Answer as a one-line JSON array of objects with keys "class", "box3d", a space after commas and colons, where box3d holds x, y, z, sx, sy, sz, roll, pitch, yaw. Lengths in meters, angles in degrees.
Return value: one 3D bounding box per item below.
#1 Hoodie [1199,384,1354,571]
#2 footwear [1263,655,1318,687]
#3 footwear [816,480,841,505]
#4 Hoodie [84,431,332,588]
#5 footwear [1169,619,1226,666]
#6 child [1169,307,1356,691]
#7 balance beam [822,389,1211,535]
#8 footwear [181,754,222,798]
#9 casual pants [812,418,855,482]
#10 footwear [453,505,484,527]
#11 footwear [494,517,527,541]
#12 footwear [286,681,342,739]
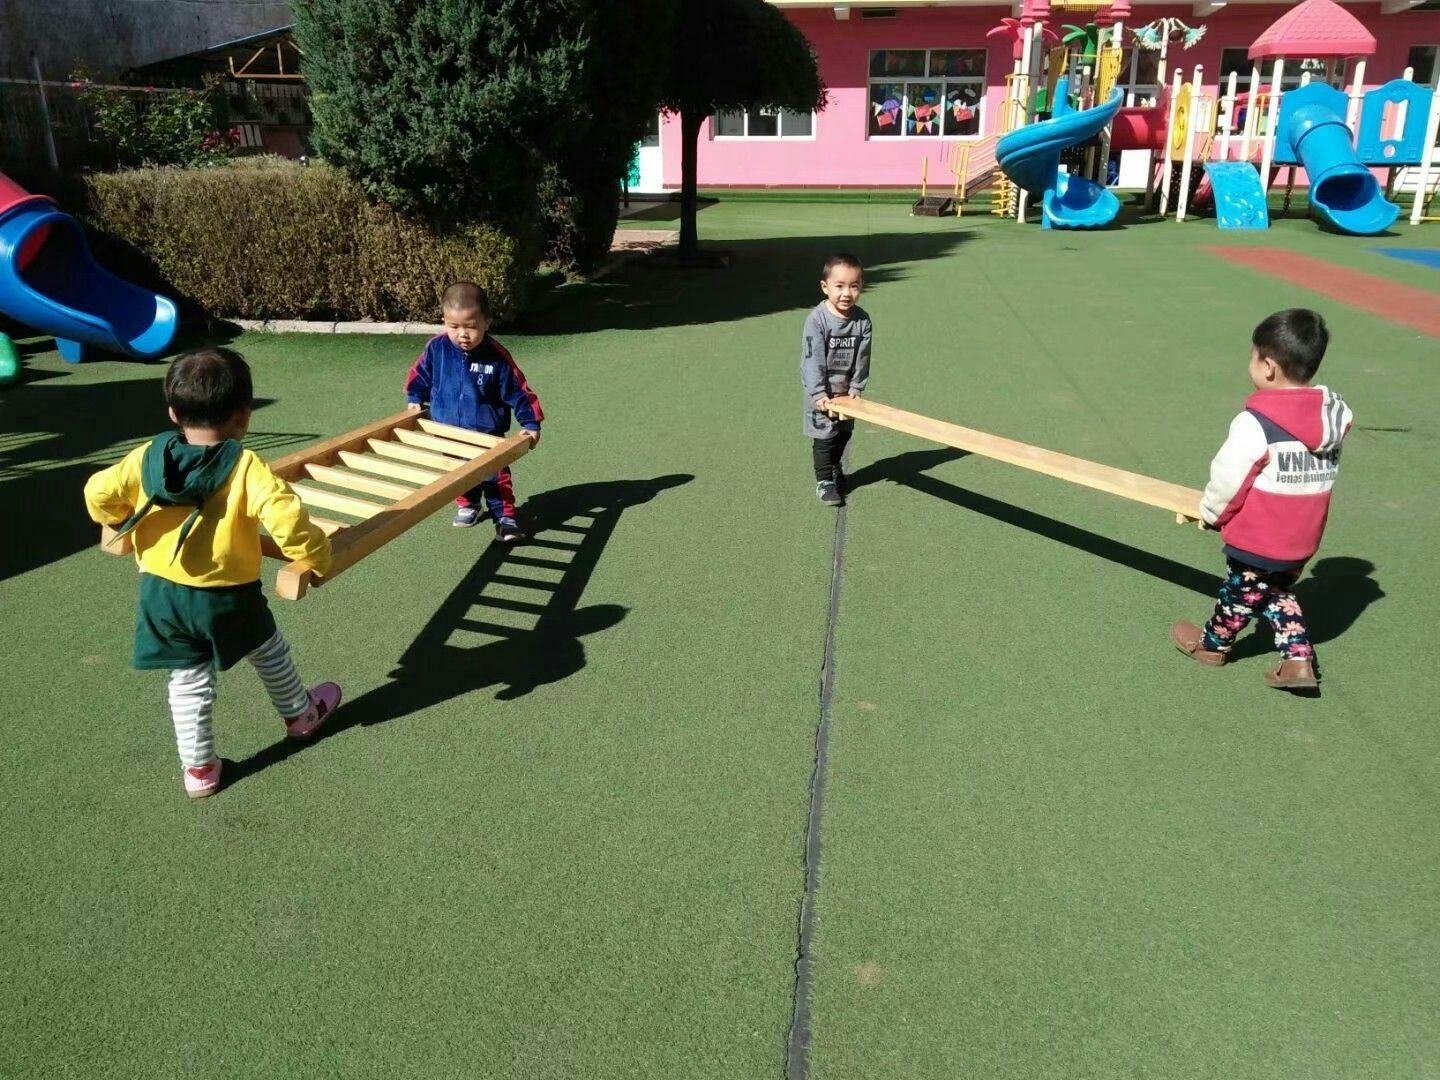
[{"class": "Hoodie", "box3d": [2.005, -0.235, 3.703, 0.427, 0.662, 0.242, 8, 24, 19]}, {"class": "footwear", "box3d": [2.125, 0.493, 3.799, 0.088, 0.092, 0.197, 2, 6, 5]}, {"class": "footwear", "box3d": [0.583, -0.261, 5.503, 0.068, 0.088, 0.190, -3, 9, -15]}, {"class": "Hoodie", "box3d": [-1.664, -0.089, 3.241, 0.778, 0.450, 0.326, 4, 6, 3]}, {"class": "footwear", "box3d": [1.901, 0.402, 4.050, 0.109, 0.071, 0.171, -16, 35, -25]}, {"class": "child", "box3d": [2.043, -0.153, 3.865, 0.484, 1.425, 0.618, -7, 15, -22]}, {"class": "balance beam", "box3d": [1.338, -0.401, 4.692, 0.381, 0.169, 1.939, -18, 28, -37]}, {"class": "footwear", "box3d": [-1.710, 0.783, 3.373, 0.067, 0.083, 0.177, -6, 16, -20]}, {"class": "casual pants", "box3d": [0.604, -0.497, 5.547, 0.125, 0.126, 0.409, -7, 28, 29]}, {"class": "footwear", "box3d": [-1.314, -0.124, 5.240, 0.070, 0.083, 0.177, 2, 4, 1]}, {"class": "footwear", "box3d": [-1.025, -0.050, 5.024, 0.079, 0.079, 0.170, -7, 4, -29]}, {"class": "footwear", "box3d": [-1.469, 0.606, 3.685, 0.098, 0.078, 0.192, 10, 35, 13]}]
